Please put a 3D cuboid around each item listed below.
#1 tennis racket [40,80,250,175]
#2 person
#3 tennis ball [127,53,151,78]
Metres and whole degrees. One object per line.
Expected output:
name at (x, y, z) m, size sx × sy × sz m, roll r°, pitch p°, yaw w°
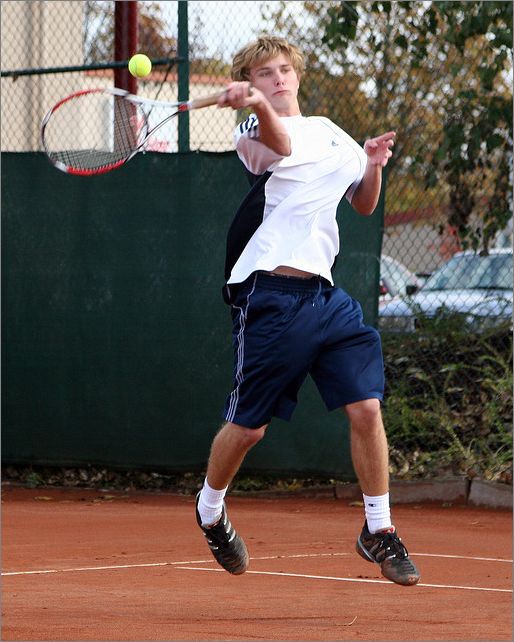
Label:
tennis racket at (-0.450, -1.169, 4.330) m, size 0.127 × 0.459 × 1.732 m, roll 25°, pitch 35°, yaw 34°
person at (0.171, 0.084, 2.535) m, size 0.661 × 1.595 × 0.561 m, roll 1°, pitch -2°, yaw -11°
tennis ball at (-0.528, -1.172, 3.549) m, size 0.126 × 0.116 × 0.120 m, roll 5°, pitch 21°, yaw -2°
